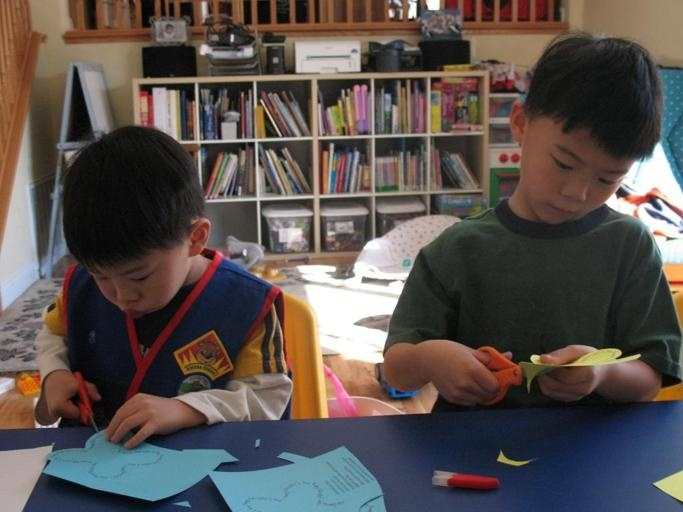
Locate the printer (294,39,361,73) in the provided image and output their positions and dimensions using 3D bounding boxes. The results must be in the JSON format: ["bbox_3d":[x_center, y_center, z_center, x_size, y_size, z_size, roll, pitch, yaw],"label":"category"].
[{"bbox_3d":[-0.101,-1.319,4.020,0.307,0.158,0.259,-2,17,-6],"label":"printer"}]

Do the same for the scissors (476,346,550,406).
[{"bbox_3d":[0.253,0.187,0.945,0.162,0.064,0.098,-5,-16,-14],"label":"scissors"}]
